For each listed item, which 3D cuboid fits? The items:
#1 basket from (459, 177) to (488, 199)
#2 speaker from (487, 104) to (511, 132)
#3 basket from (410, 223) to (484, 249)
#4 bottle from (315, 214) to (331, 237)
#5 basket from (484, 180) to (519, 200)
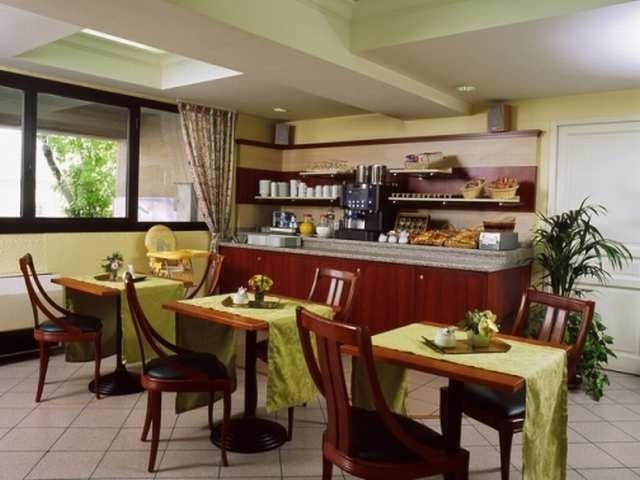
[{"bbox_3d":[1.861,-0.604,5.518,0.338,0.240,0.274,1,7,-6],"label":"basket"},{"bbox_3d":[2.139,-1.428,5.492,0.293,0.325,0.175,3,7,9],"label":"speaker"},{"bbox_3d":[1.449,-0.036,5.427,0.833,0.224,0.412,5,8,30],"label":"basket"},{"bbox_3d":[0.071,-0.199,6.367,0.223,0.317,0.294,5,8,26],"label":"bottle"},{"bbox_3d":[2.095,-0.562,5.303,0.267,0.152,0.265,-1,2,8],"label":"basket"}]
